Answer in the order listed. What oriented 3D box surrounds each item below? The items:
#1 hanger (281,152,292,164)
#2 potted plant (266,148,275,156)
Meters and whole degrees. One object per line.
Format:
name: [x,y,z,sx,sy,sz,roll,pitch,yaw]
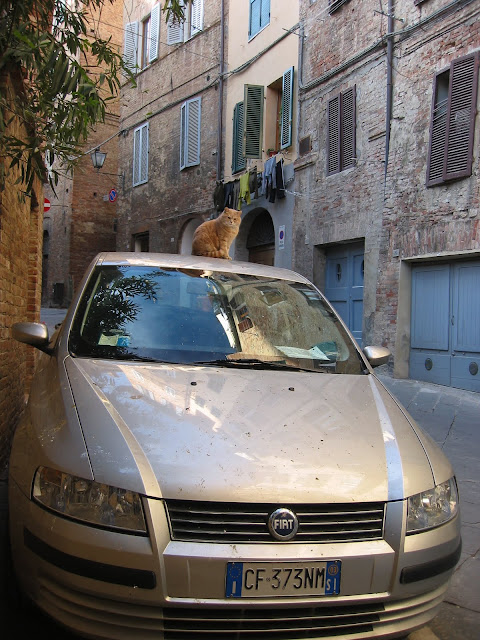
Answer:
hanger: [1.232,-4.234,13.712,0.083,0.295,0.274,-17,21,-42]
potted plant: [0.853,-4.676,14.627,0.200,0.199,0.210,-2,5,-14]
